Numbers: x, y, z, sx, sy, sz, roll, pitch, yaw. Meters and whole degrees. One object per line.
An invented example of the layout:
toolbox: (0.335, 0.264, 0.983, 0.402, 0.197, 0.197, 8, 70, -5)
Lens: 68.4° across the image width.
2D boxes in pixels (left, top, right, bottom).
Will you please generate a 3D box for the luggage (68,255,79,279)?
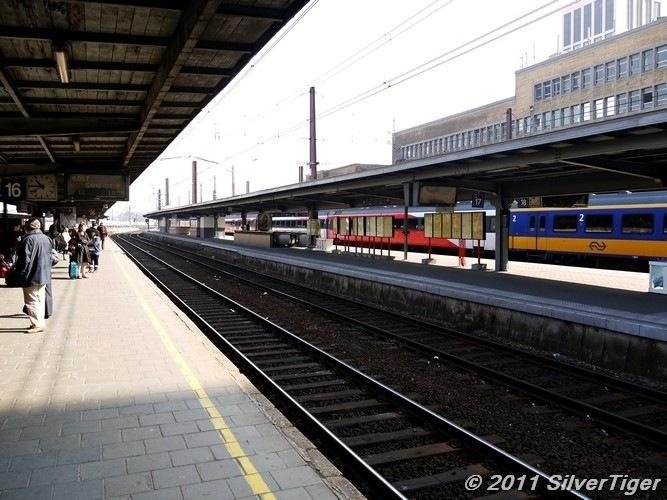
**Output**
luggage: (-8.391, 0.606, 18.191, 0.253, 0.842, 0.454, 0, 4, -18)

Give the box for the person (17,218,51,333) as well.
person: (-5.018, 0.488, 9.385, 0.513, 2.182, 0.912, -1, 4, -27)

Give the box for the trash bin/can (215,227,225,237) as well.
trash bin/can: (-10.639, -1.945, 55.446, 0.879, 1.133, 1.197, -1, 2, -1)

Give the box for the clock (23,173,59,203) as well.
clock: (-7.870, -1.913, 15.002, 0.994, 0.790, 0.108, 0, -23, -40)
